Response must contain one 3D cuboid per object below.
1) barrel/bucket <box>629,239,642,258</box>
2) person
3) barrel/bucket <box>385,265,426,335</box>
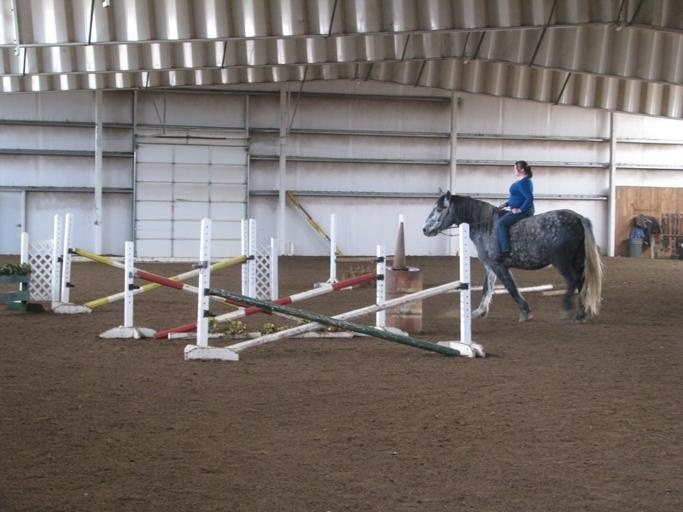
[{"bbox_3d":[9.372,-0.196,47.699,0.468,0.545,0.172,-3,5,-28],"label":"barrel/bucket"},{"bbox_3d":[3.724,-0.972,32.220,0.816,2.020,0.368,-1,5,0],"label":"person"},{"bbox_3d":[1.351,1.046,32.072,0.844,1.243,0.834,3,-3,0],"label":"barrel/bucket"}]
